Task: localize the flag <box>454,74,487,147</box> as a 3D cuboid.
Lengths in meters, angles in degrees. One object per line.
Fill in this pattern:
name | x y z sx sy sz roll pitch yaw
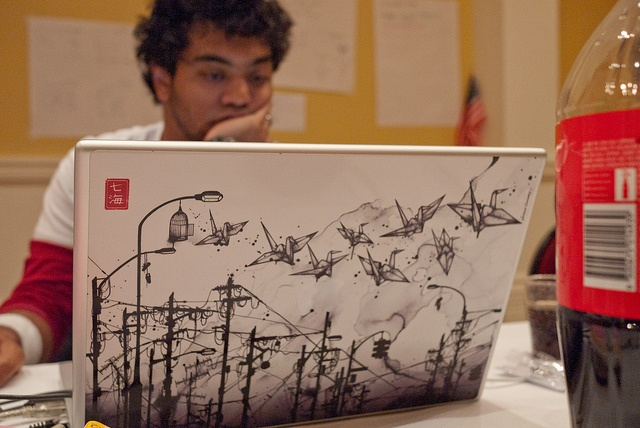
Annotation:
flag | 0.283 -0.196 1.438 0.063 0.136 0.041 0 -3 -42
